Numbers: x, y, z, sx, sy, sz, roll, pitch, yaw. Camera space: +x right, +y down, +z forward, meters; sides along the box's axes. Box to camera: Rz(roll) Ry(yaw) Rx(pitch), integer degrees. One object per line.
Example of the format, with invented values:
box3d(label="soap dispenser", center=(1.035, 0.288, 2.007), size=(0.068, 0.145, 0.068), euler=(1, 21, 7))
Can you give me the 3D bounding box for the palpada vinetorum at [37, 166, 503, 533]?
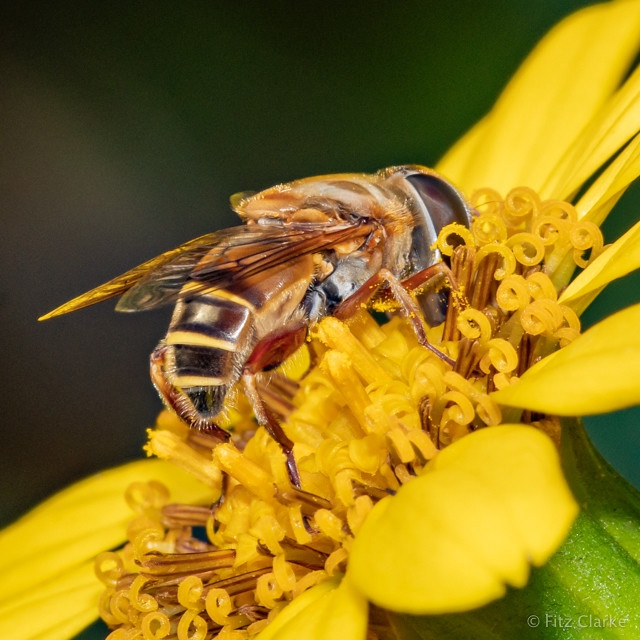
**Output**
box3d(label="palpada vinetorum", center=(-0.027, -0.062, 1.385), size=(0.863, 0.445, 0.259), euler=(-22, 99, -21))
